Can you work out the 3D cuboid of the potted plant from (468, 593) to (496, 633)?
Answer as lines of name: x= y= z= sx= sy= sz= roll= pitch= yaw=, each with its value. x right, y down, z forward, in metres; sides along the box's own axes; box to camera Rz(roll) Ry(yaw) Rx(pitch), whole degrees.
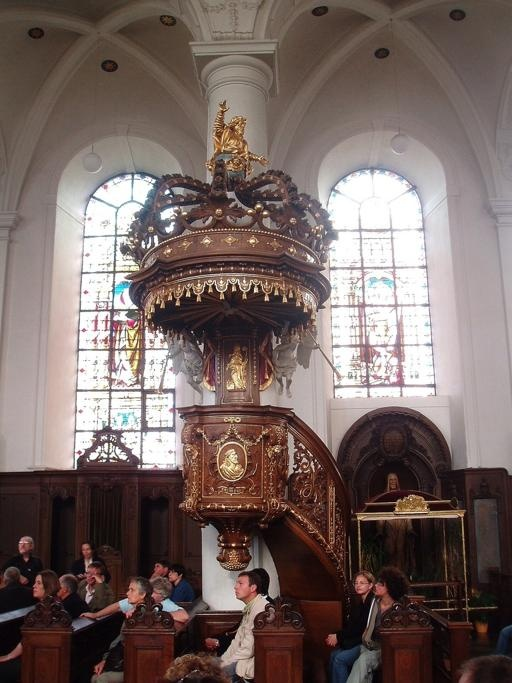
potted plant: x=2.806 y=3.307 z=9.489 sx=0.317 sy=0.439 sz=0.448 roll=-4 pitch=-12 yaw=16

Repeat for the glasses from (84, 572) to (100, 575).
glasses: x=-1.598 y=2.259 z=7.537 sx=0.086 sy=0.022 sz=0.081 roll=1 pitch=-14 yaw=2
